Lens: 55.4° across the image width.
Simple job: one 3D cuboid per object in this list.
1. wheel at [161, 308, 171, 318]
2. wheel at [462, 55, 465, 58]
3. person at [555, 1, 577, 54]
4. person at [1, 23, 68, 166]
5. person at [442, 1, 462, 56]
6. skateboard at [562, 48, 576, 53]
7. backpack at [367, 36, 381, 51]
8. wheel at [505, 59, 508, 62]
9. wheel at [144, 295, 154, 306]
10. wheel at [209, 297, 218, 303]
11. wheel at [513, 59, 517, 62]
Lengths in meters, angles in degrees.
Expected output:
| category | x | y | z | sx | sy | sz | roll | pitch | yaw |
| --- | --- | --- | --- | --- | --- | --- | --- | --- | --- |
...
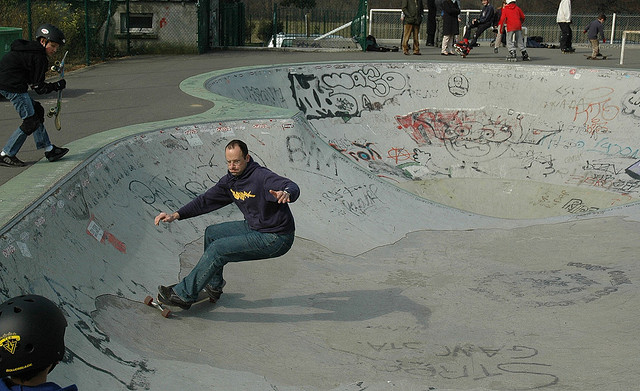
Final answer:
| category | x | y | z | sx | sy | sz | roll | pitch | yaw |
| --- | --- | --- | --- | --- | --- | --- | --- | --- | --- |
| wheel | -2.463 | 1.862 | 9.713 | 0.121 | 0.145 | 0.063 | -4 | 15 | -15 |
| wheel | 5.046 | -4.849 | 21.362 | 0.160 | 0.072 | 0.213 | 0 | 3 | 12 |
| person | 9.282 | -6.262 | 22.880 | 0.656 | 1.872 | 1.001 | 8 | 17 | 31 |
| person | -5.182 | -1.794 | 10.917 | 1.204 | 2.459 | 0.517 | -6 | 16 | -20 |
| person | 4.750 | -6.041 | 22.097 | 0.600 | 1.879 | 0.869 | 2 | 15 | 10 |
| skateboard | 9.456 | -5.479 | 23.158 | 0.309 | 0.128 | 0.380 | -1 | 5 | 3 |
| backpack | 2.082 | -5.964 | 23.996 | 0.412 | 0.553 | 0.627 | -5 | 15 | -19 |
| wheel | 6.341 | -4.558 | 20.647 | 0.121 | 0.026 | 0.162 | -1 | 22 | 7 |
| wheel | -2.769 | 1.695 | 9.852 | 0.150 | 0.165 | 0.102 | -4 | 15 | -15 |
| wheel | -1.773 | 1.734 | 10.127 | 0.095 | 0.065 | 0.091 | 3 | 3 | 0 |
| wheel | 6.558 | -4.510 | 20.419 | 0.094 | 0.040 | 0.125 | -1 | 6 | 7 |
